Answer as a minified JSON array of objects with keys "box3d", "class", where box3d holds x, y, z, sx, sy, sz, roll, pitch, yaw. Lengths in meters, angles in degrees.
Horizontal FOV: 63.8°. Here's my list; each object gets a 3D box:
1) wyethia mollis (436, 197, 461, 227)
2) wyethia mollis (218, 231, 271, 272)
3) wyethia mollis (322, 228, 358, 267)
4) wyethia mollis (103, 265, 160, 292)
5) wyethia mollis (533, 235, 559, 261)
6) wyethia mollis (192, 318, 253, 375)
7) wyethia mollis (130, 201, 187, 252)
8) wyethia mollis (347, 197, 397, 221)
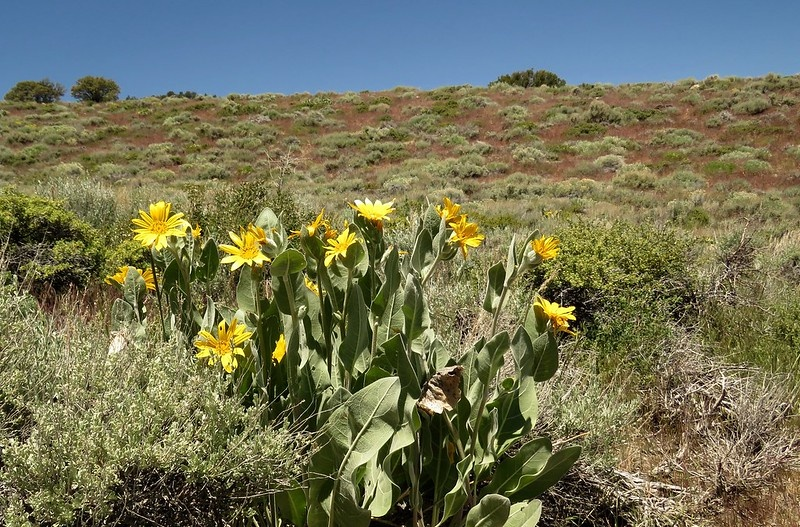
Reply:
[{"box3d":[0.373,-0.424,5.085,0.203,0.234,0.389,1,-5,4],"class":"wyethia mollis"},{"box3d":[-1.181,-0.098,4.741,0.305,0.310,0.416,5,-7,-40],"class":"wyethia mollis"},{"box3d":[-0.453,-0.124,4.871,0.241,0.293,0.295,1,-5,-3],"class":"wyethia mollis"},{"box3d":[-2.239,0.108,5.363,0.336,0.181,0.400,5,-7,-38],"class":"wyethia mollis"},{"box3d":[1.128,-0.124,4.981,0.148,0.199,0.313,-3,-7,36],"class":"wyethia mollis"},{"box3d":[-1.297,0.562,4.875,0.536,0.172,0.520,19,13,37],"class":"wyethia mollis"},{"box3d":[-1.838,-0.294,4.965,0.410,0.390,0.418,3,-5,-19],"class":"wyethia mollis"},{"box3d":[-0.205,-0.360,4.952,0.246,0.105,0.280,-15,49,-23],"class":"wyethia mollis"}]
